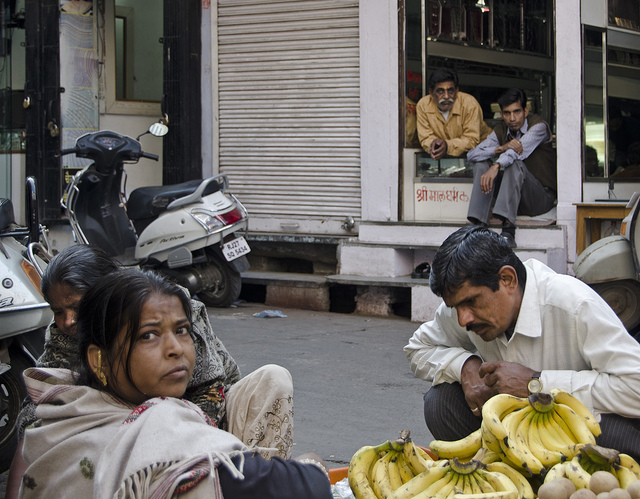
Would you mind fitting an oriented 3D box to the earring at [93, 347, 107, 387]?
[{"bbox_3d":[-0.767,0.409,2.649,0.019,0.202,0.068,-12,25,-33],"label":"earring"}]

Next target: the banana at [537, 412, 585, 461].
[{"bbox_3d":[0.916,0.739,2.883,0.132,0.148,0.152,9,12,0],"label":"banana"}]

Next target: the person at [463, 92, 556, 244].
[{"bbox_3d":[2.008,-0.889,8.073,0.799,1.591,0.968,5,7,42],"label":"person"}]

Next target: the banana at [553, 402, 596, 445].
[{"bbox_3d":[0.984,0.644,2.967,0.182,0.134,0.203,7,14,39],"label":"banana"}]

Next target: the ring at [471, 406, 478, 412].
[{"bbox_3d":[0.716,0.743,3.493,0.024,0.024,0.028,-1,8,11],"label":"ring"}]

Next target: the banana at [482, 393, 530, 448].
[{"bbox_3d":[0.701,0.644,2.944,0.178,0.160,0.261,-2,15,16],"label":"banana"}]

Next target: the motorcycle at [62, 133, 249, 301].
[{"bbox_3d":[-1.941,-0.324,8.154,2.324,1.916,1.088,2,12,25],"label":"motorcycle"}]

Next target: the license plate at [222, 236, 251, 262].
[{"bbox_3d":[-0.877,-0.009,7.848,0.218,0.177,0.030,-30,5,-13],"label":"license plate"}]

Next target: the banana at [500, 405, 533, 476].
[{"bbox_3d":[0.747,0.742,2.865,0.075,0.234,0.038,-2,-25,-48],"label":"banana"}]

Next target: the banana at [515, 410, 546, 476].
[{"bbox_3d":[0.784,0.732,2.882,0.144,0.171,0.134,9,15,32],"label":"banana"}]

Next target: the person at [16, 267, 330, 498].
[{"bbox_3d":[-0.556,0.533,2.679,0.806,0.814,0.791,-2,2,13],"label":"person"}]

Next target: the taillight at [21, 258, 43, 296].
[{"bbox_3d":[-1.568,0.159,4.110,0.030,0.137,0.142,-27,37,1],"label":"taillight"}]
